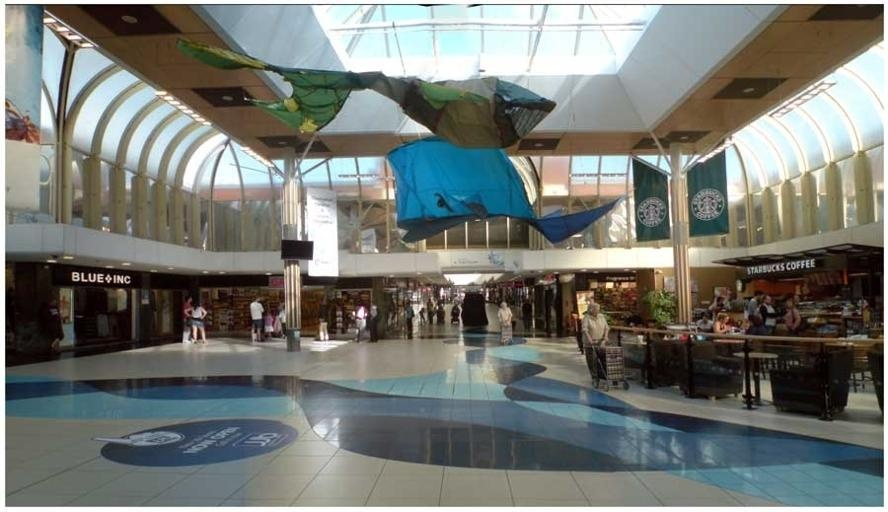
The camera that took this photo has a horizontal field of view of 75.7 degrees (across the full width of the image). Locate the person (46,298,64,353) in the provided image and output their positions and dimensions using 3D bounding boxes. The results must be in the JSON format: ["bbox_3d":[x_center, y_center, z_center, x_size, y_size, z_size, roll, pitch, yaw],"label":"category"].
[{"bbox_3d":[-16.522,2.978,24.193,0.376,2.147,0.818,-5,10,-24],"label":"person"}]

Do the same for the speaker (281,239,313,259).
[{"bbox_3d":[-6.114,-0.253,23.951,1.334,0.800,0.733,-2,9,-13],"label":"speaker"}]
